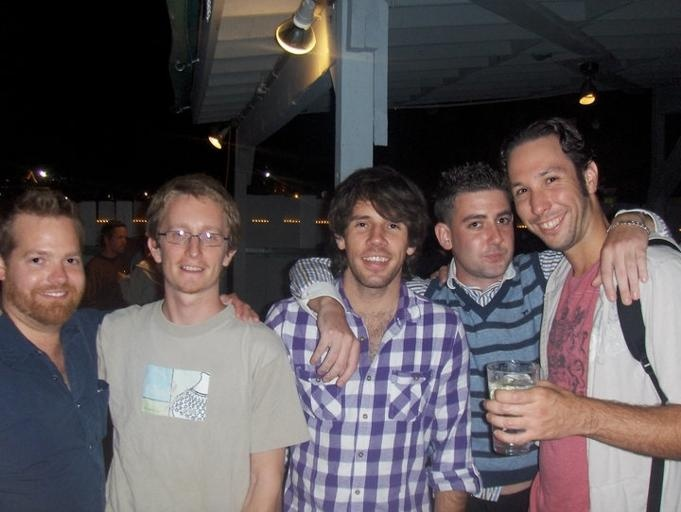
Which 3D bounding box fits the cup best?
[{"bbox_3d":[0.857,0.766,2.858,0.234,0.497,0.410,-3,-4,14],"label":"cup"}]
